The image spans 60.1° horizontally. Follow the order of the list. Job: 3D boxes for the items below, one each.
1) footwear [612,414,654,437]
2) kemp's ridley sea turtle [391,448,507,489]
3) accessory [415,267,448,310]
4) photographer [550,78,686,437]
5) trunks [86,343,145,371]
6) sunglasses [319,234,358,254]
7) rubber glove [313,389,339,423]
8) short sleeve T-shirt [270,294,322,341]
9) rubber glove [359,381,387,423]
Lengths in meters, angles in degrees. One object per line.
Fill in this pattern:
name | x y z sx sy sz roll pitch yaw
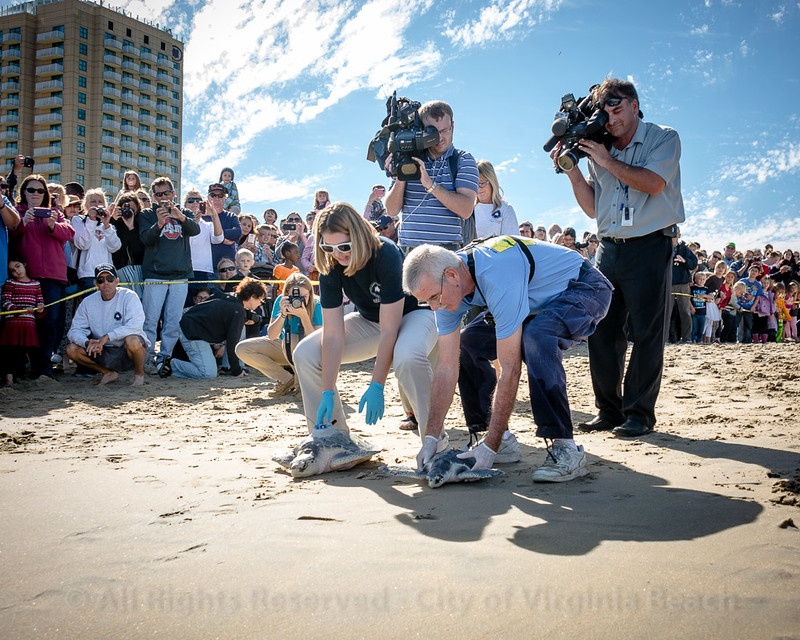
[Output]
footwear | 1.558 0.717 4.641 0.251 0.103 0.200 -1 5 16
kemp's ridley sea turtle | 0.282 0.801 3.710 0.427 0.163 0.732 1 5 29
accessory | 0.187 -0.155 3.527 0.095 0.178 0.149 40 -29 -22
photographer | 1.442 -0.328 4.590 1.067 2.374 1.037 -1 3 -35
trunks | -3.083 0.416 7.440 0.440 0.295 0.210 -5 6 -32
sunglasses | -0.369 -0.421 4.025 0.178 0.069 0.046 -1 6 18
rubber glove | -0.443 0.533 4.165 0.080 0.208 0.164 2 7 38
short sleeve T-shirt | -0.896 0.013 6.706 0.588 0.482 0.162 7 13 16
rubber glove | -0.166 0.493 4.092 0.130 0.258 0.143 -3 6 1
